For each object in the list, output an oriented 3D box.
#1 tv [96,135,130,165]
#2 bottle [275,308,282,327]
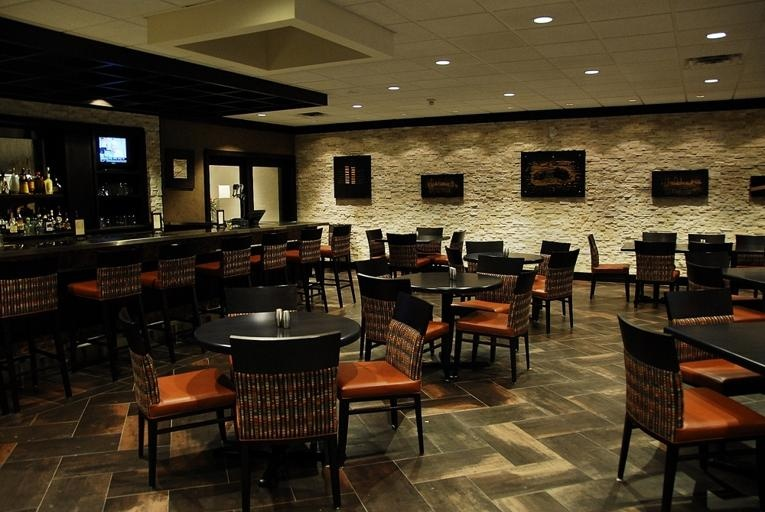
[{"bbox_3d":[-4.790,-1.895,8.976,0.118,0.422,0.775,11,11,30],"label":"tv"},{"bbox_3d":[-0.864,0.527,4.294,0.059,0.139,0.085,-6,8,-14],"label":"bottle"}]
